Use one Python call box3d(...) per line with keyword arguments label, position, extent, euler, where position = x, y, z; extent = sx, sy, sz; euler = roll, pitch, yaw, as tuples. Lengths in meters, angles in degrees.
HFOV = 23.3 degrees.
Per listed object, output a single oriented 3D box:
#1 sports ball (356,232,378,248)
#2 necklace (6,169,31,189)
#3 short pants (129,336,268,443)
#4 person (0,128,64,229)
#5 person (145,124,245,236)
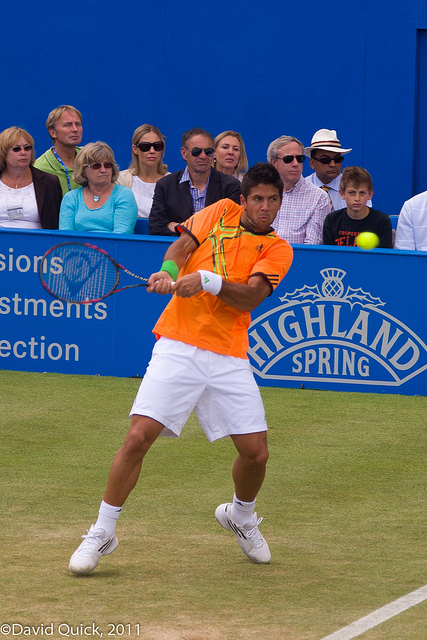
box3d(label="sports ball", position=(1.093, -0.562, 7.261), extent=(0.155, 0.106, 0.116), euler=(10, -19, 8))
box3d(label="necklace", position=(-1.487, -1.067, 7.830), extent=(0.178, 0.118, 0.059), euler=(2, 11, -2))
box3d(label="short pants", position=(-0.075, 0.289, 4.353), extent=(0.663, 0.379, 0.224), euler=(10, -20, -36))
box3d(label="person", position=(-1.365, -1.069, 7.806), extent=(0.470, 0.748, 0.368), euler=(2, 11, -8))
box3d(label="person", position=(-0.104, -0.916, 7.637), extent=(0.847, 0.917, 0.562), euler=(2, 13, 9))
